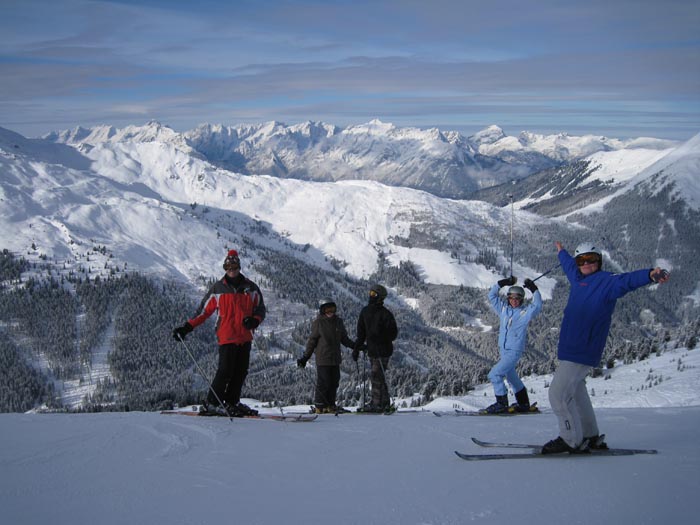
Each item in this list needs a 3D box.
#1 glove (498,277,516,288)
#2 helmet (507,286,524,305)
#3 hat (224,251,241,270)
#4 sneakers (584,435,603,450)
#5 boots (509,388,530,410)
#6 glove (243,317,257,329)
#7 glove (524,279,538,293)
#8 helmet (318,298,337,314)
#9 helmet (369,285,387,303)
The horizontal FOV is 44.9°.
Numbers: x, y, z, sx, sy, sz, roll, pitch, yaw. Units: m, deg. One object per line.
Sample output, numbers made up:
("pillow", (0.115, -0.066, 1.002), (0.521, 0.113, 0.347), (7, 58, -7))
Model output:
("glove", (4.596, 0.533, 24.593), (0.414, 0.156, 0.306), (-8, 4, -28))
("helmet", (4.881, 0.961, 24.811), (0.412, 0.558, 0.570), (2, -9, 13))
("hat", (-3.262, -0.068, 23.481), (0.403, 0.493, 0.562), (6, -9, -7))
("sneakers", (5.795, 4.242, 19.999), (0.217, 0.304, 0.690), (-1, 4, 40))
("boots", (5.142, 4.149, 25.420), (0.776, 0.800, 0.407), (10, -13, -36))
("glove", (-2.690, 1.658, 23.274), (0.415, 0.384, 0.300), (-1, 7, -8))
("glove", (4.961, 0.619, 23.157), (0.354, 0.470, 0.669), (1, 7, 12))
("helmet", (-0.659, 1.323, 26.087), (0.385, 0.447, 0.534), (4, 12, 19))
("helmet", (0.908, 0.826, 25.501), (0.419, 0.555, 0.562), (3, 18, -19))
